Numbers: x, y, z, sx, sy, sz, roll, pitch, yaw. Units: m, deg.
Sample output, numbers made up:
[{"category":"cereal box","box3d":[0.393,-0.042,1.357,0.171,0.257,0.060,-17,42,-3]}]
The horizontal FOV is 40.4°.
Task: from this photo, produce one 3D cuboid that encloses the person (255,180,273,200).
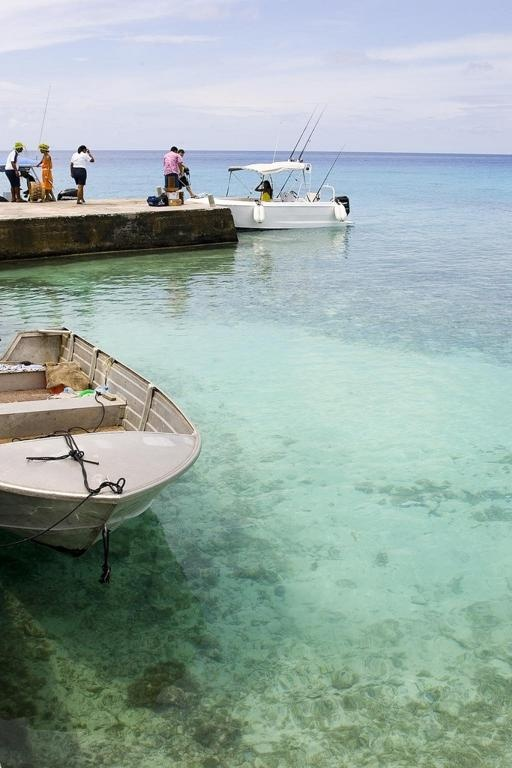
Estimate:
[{"category":"person","box3d":[0.289,-7.311,26.373,0.634,0.826,0.946,1,11,0]}]
